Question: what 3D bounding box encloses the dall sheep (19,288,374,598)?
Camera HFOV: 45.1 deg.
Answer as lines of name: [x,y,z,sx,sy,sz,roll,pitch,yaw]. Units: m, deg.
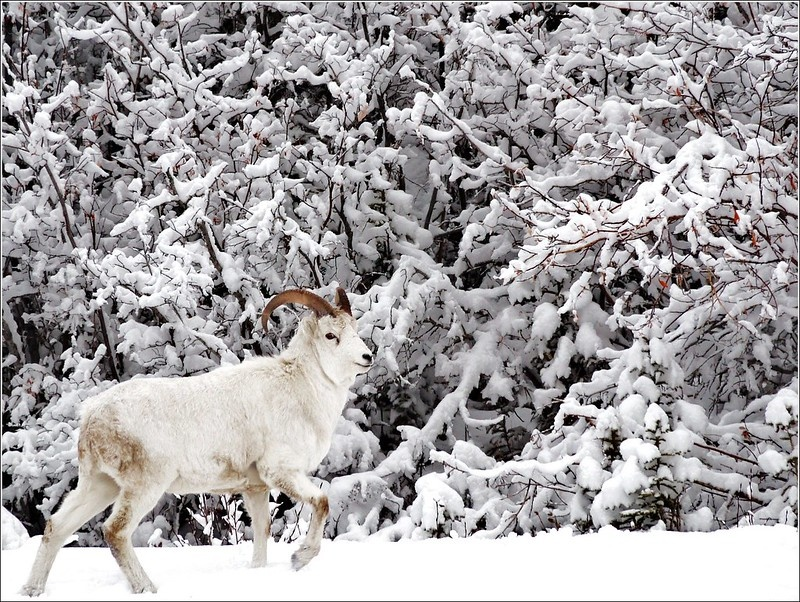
dall sheep: [-1.843,1.396,9.139,2.419,0.887,2.223,5,69,-23]
